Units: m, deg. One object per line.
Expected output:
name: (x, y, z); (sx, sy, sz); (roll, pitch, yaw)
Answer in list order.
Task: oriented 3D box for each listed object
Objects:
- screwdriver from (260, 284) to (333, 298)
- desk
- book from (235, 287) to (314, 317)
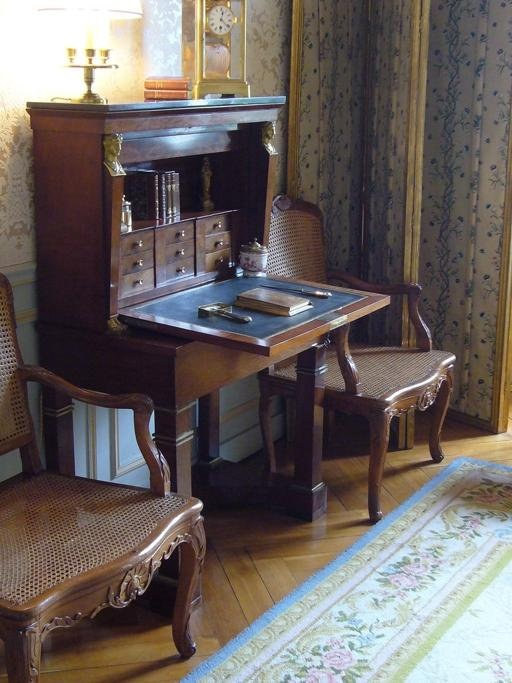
screwdriver: (0.125, -0.170, 2.103); (0.071, 0.022, 0.292); (-15, 21, -43)
desk: (-0.209, 0.111, 2.113); (0.957, 0.946, 1.056); (12, 22, 32)
book: (0.047, -0.114, 1.883); (0.129, 0.025, 0.128); (15, 20, 25)
